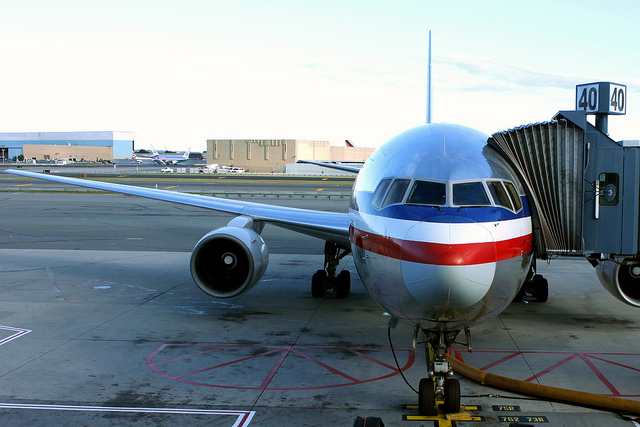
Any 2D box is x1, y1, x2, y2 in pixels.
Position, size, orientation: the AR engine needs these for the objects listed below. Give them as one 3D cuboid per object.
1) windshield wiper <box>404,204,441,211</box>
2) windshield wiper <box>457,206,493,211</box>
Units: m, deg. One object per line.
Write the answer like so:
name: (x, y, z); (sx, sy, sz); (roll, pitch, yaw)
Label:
windshield wiper: (2.043, -0.144, 11.244); (0.685, 0.055, 0.067); (4, 14, 21)
windshield wiper: (3.027, -0.123, 11.211); (0.733, 0.050, 0.065); (-2, 13, -13)
